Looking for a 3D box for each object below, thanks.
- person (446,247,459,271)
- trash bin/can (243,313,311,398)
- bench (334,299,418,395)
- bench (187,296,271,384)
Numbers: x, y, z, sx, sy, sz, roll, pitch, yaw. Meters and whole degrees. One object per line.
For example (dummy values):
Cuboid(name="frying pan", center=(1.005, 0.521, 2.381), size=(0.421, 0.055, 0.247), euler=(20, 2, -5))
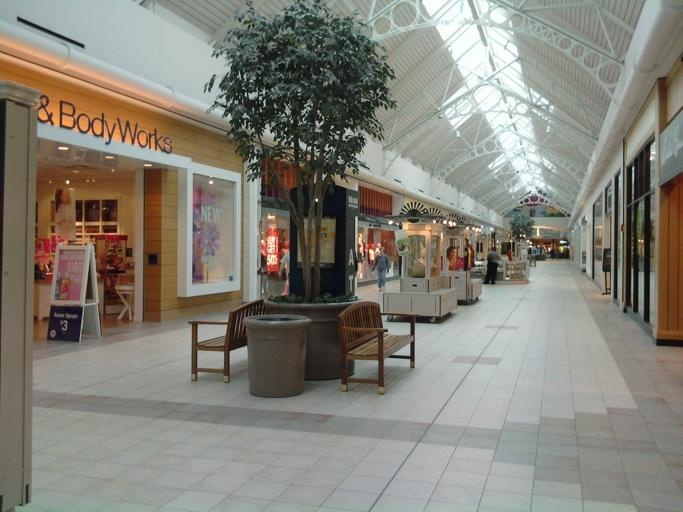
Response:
Cuboid(name="person", center=(3.828, 0.093, 16.658), size=(0.336, 0.840, 1.251), euler=(0, 0, 14))
Cuboid(name="trash bin/can", center=(-0.851, 1.270, 6.326), size=(0.864, 1.066, 0.909), euler=(3, 2, 7))
Cuboid(name="bench", center=(0.574, 1.277, 7.239), size=(0.638, 1.208, 2.165), euler=(-3, -4, 19))
Cuboid(name="bench", center=(-1.720, 1.321, 7.838), size=(0.585, 1.118, 2.154), euler=(1, -4, 5))
